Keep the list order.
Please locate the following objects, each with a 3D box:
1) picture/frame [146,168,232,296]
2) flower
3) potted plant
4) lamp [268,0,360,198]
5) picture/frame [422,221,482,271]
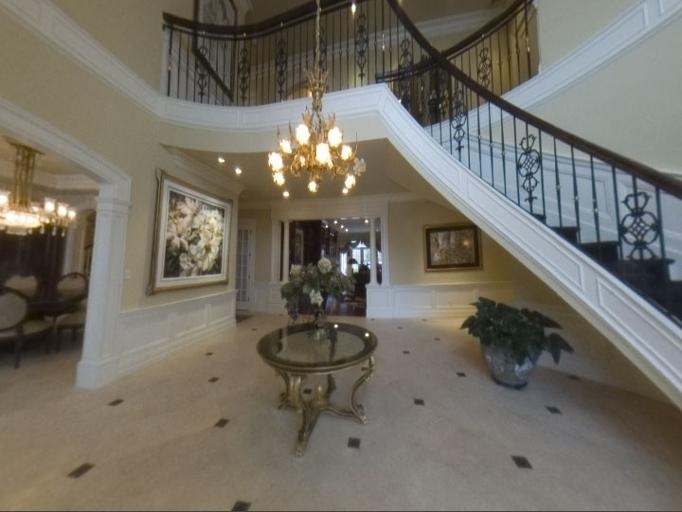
[{"bbox_3d":[-2.456,-0.391,6.547,0.068,1.707,1.902,1,0,18],"label":"picture/frame"},{"bbox_3d":[-0.327,0.474,5.327,0.766,0.873,0.792,5,-10,-34],"label":"flower"},{"bbox_3d":[2.263,0.943,5.428,1.104,0.921,1.203,4,5,19],"label":"potted plant"},{"bbox_3d":[-0.369,-2.340,6.006,1.319,2.619,2.206,0,1,-4],"label":"lamp"},{"bbox_3d":[2.299,-0.169,8.377,0.818,0.863,0.068,0,-3,9],"label":"picture/frame"}]
